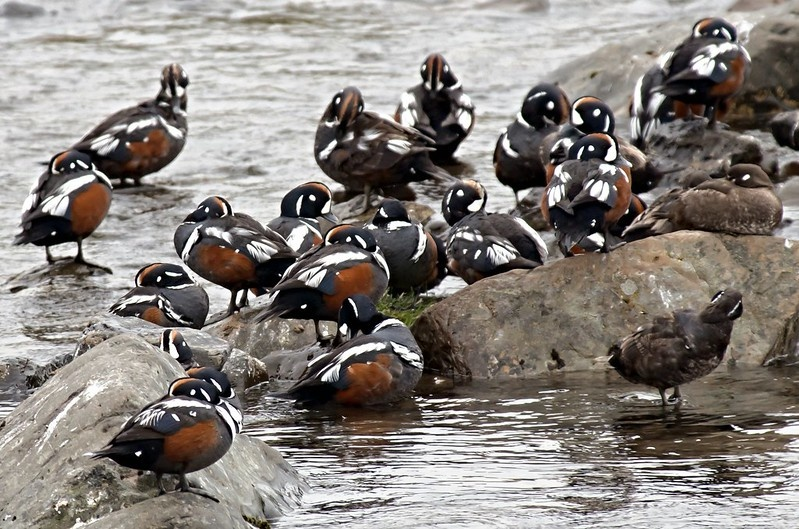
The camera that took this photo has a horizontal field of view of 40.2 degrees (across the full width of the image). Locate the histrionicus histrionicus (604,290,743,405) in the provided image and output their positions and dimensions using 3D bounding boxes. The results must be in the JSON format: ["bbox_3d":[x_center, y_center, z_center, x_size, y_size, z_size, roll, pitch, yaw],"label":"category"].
[{"bbox_3d":[2.500,0.722,9.649,0.832,0.994,1.478,-8,8,-39],"label":"histrionicus histrionicus"}]

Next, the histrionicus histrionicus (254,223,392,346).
[{"bbox_3d":[-0.665,0.140,10.762,1.783,1.077,0.858,-8,15,-22],"label":"histrionicus histrionicus"}]

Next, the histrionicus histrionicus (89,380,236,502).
[{"bbox_3d":[-1.608,1.186,7.564,0.668,0.744,1.211,-13,-13,40],"label":"histrionicus histrionicus"}]

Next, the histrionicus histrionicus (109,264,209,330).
[{"bbox_3d":[-2.471,0.419,11.351,0.891,0.633,0.850,-1,28,5],"label":"histrionicus histrionicus"}]

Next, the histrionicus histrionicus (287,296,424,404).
[{"bbox_3d":[-0.337,0.863,10.157,0.946,0.781,0.980,13,33,28],"label":"histrionicus histrionicus"}]
